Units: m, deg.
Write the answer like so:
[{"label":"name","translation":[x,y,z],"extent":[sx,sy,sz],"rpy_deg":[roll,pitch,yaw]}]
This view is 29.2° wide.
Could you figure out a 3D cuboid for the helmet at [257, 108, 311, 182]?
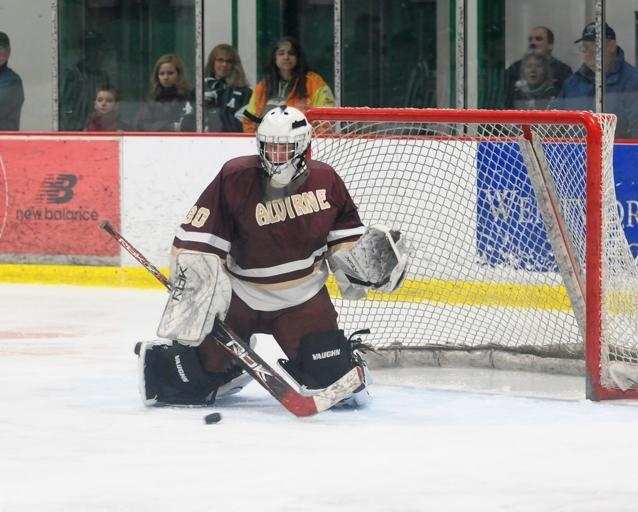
[{"label":"helmet","translation":[-0.144,-0.546,5.818],"extent":[0.280,0.374,0.326],"rpy_deg":[4,22,13]}]
